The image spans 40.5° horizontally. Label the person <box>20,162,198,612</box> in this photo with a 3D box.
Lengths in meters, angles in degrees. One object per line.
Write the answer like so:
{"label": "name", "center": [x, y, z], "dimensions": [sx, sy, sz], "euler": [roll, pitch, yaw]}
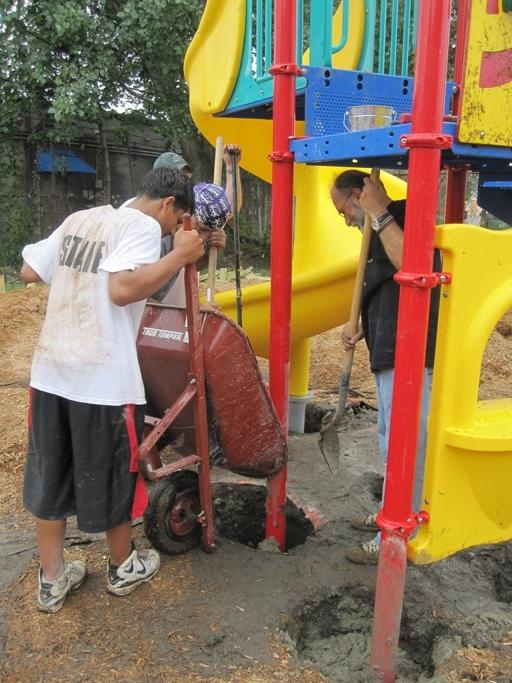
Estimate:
{"label": "person", "center": [-0.590, 0.273, 2.742], "dimensions": [0.718, 1.583, 0.423], "euler": [3, 14, 0]}

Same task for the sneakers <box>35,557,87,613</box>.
{"label": "sneakers", "center": [-0.755, 0.975, 2.814], "dimensions": [0.101, 0.113, 0.264], "euler": [4, 21, 10]}

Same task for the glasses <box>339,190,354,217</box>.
{"label": "glasses", "center": [0.409, -0.637, 3.197], "dimensions": [0.026, 0.075, 0.081], "euler": [-7, -6, -1]}

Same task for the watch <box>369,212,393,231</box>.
{"label": "watch", "center": [0.521, -0.493, 2.838], "dimensions": [0.086, 0.046, 0.085], "euler": [-41, -6, 34]}

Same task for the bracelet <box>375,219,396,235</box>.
{"label": "bracelet", "center": [0.514, -0.472, 2.811], "dimensions": [0.068, 0.061, 0.034], "euler": [-27, 19, 49]}

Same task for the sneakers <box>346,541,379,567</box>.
{"label": "sneakers", "center": [0.507, 0.990, 3.236], "dimensions": [0.158, 0.058, 0.090], "euler": [7, 6, 21]}

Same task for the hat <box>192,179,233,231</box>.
{"label": "hat", "center": [-0.218, -0.645, 3.238], "dimensions": [0.174, 0.213, 0.185], "euler": [-20, 26, -28]}

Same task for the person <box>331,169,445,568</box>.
{"label": "person", "center": [0.562, 0.152, 3.106], "dimensions": [0.484, 1.807, 0.824], "euler": [2, 13, -1]}
